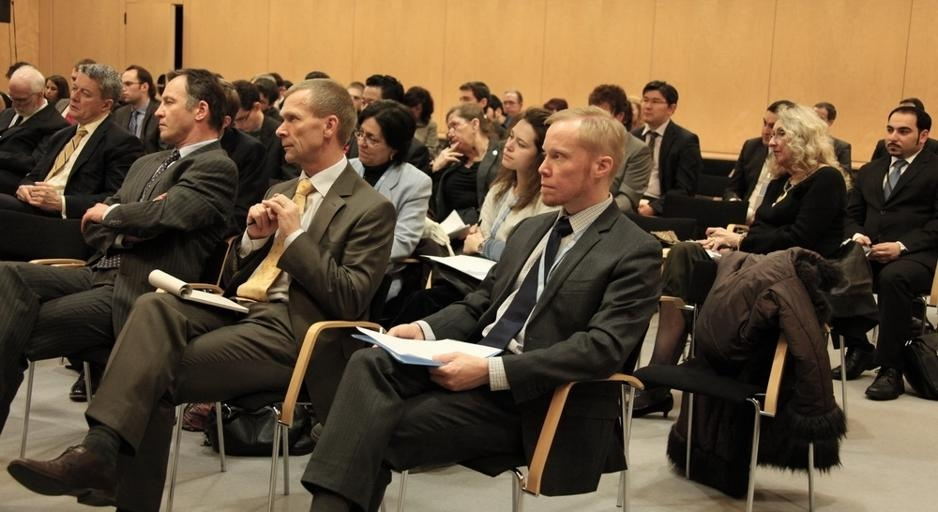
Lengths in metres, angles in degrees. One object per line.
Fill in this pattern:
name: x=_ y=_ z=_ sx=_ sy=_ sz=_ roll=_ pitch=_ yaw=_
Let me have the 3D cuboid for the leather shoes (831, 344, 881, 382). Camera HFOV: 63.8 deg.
leather shoes: x=3.482 y=0.937 z=6.834 sx=0.523 sy=0.239 sz=0.182 roll=-16 pitch=13 yaw=-14

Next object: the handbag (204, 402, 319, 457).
handbag: x=-1.492 y=1.113 z=5.407 sx=0.690 sy=0.247 sz=0.530 roll=1 pitch=-3 yaw=-21

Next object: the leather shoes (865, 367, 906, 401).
leather shoes: x=3.628 y=1.067 z=6.554 sx=0.554 sy=0.242 sz=0.203 roll=-7 pitch=14 yaw=-41
